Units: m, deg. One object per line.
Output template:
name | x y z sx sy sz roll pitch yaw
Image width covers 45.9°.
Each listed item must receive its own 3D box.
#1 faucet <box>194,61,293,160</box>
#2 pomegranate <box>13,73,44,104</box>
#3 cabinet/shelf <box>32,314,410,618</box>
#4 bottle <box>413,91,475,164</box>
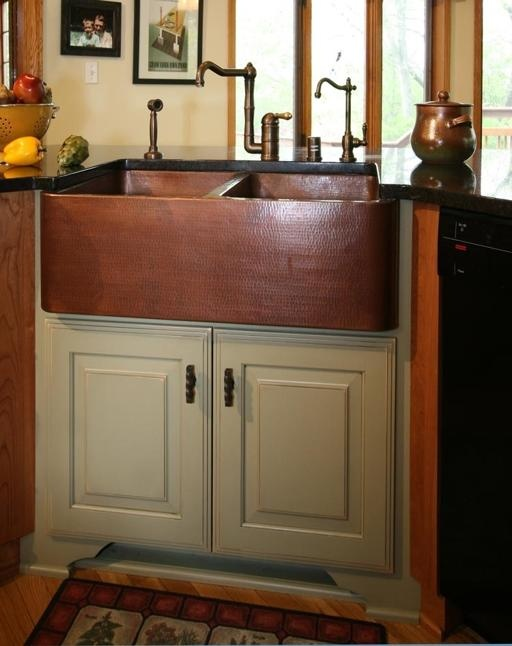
faucet | -0.046 -0.624 1.743 0.235 0.328 0.563 -2 11 -3
pomegranate | -0.546 -0.560 1.454 0.070 0.072 0.077 -20 20 -32
cabinet/shelf | -0.062 0.284 1.275 0.616 0.450 0.222 1 6 12
bottle | 0.411 -0.439 1.339 0.133 0.152 0.178 -10 24 -12
